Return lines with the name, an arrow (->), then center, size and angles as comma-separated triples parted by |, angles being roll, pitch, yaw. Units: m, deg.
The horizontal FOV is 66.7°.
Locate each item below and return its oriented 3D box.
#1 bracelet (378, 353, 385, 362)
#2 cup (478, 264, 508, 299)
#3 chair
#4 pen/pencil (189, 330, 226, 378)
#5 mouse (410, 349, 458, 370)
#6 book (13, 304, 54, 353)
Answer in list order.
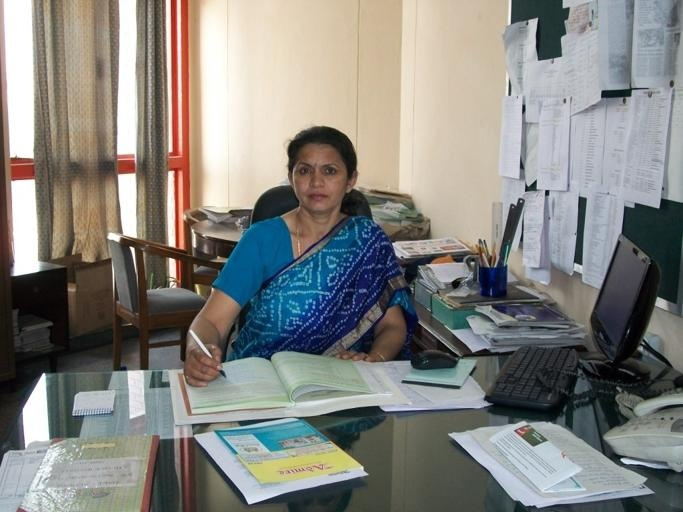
bracelet -> 0.129, 0.325, 1.657 | 0.007, 0.026, 0.022 | 2, -10, -25
cup -> 0.581, 0.081, 1.997 | 0.113, 0.126, 0.115 | -4, 18, 1
chair -> -1.133, 0.331, 3.427 | 0.768, 0.957, 0.791 | 1, 7, -11
pen/pencil -> -0.371, 0.268, 1.415 | 0.019, 0.137, 0.019 | -21, 35, 27
mouse -> 0.267, 0.281, 1.443 | 0.096, 0.033, 0.057 | -2, 5, -8
book -> -2.025, 0.460, 3.408 | 0.223, 0.296, 0.225 | -10, 16, -27
